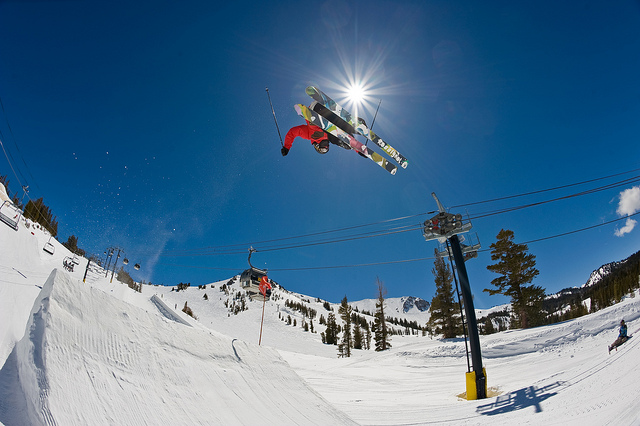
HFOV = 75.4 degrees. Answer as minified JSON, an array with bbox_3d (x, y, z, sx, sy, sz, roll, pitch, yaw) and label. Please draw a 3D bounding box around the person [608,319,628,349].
[{"bbox_3d":[17.180,6.814,23.747,0.721,1.595,1.884,-18,-10,41],"label":"person"}]
